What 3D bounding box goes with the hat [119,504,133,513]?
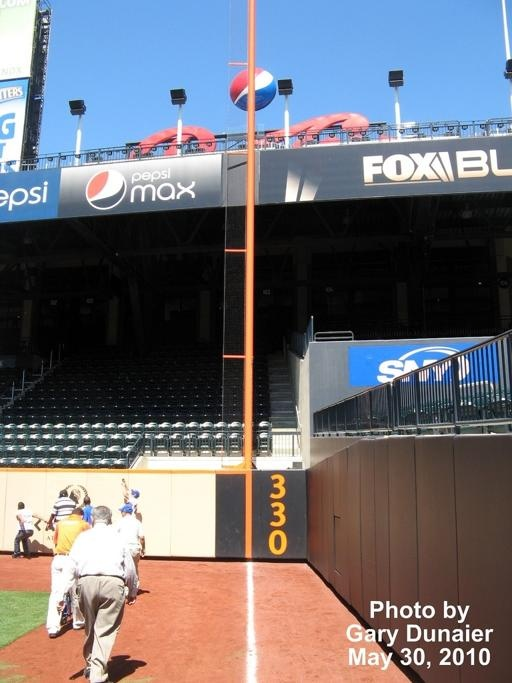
[{"bbox_3d":[-1.531,1.983,7.088,0.126,0.109,0.067,22,-25,-33],"label":"hat"}]
